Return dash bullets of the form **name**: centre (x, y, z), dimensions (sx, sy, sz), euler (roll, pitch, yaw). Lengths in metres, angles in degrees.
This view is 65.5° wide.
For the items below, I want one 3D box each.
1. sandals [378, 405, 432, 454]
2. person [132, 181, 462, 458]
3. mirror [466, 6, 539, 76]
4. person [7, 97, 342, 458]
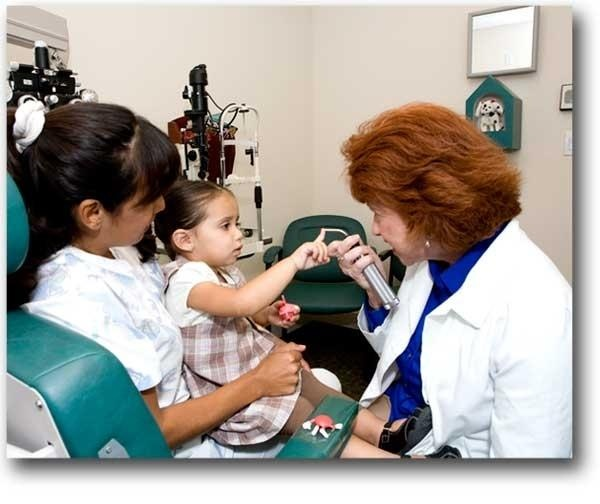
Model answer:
- **sandals**: centre (0.287, 0.489, 1.249), dimensions (0.072, 0.072, 0.201), euler (0, -22, -42)
- **person**: centre (-0.132, 0.090, 1.528), dimensions (1.023, 1.065, 0.519), euler (-2, 14, 2)
- **mirror**: centre (1.122, -1.158, 2.555), dimensions (0.423, 0.392, 0.042), euler (6, 17, 38)
- **person**: centre (-0.261, -0.053, 1.385), dimensions (0.837, 0.869, 0.664), euler (-3, 17, -21)
